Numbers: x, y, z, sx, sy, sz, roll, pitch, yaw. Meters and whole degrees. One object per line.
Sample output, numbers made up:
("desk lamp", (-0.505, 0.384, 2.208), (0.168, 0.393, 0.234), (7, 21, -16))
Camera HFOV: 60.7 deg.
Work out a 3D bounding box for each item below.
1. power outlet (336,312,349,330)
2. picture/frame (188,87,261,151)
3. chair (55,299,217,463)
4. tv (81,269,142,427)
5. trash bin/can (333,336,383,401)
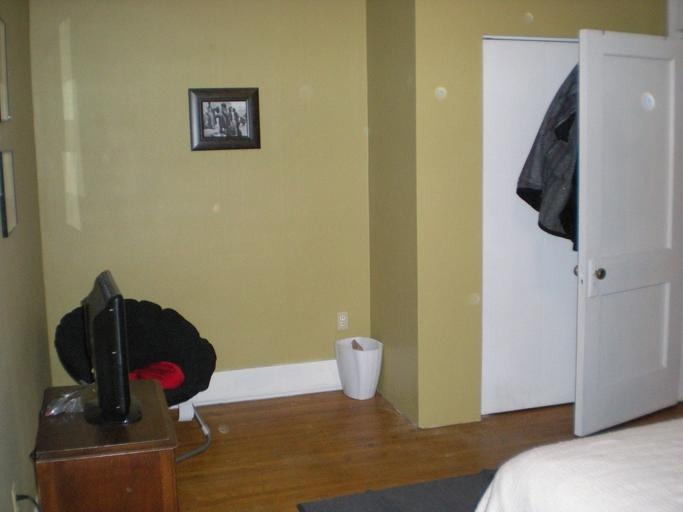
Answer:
("power outlet", (0.001, 0.474, 4.360), (0.108, 0.172, 0.022), (-3, 6, -30))
("picture/frame", (-0.835, -0.962, 4.037), (0.371, 0.384, 0.031), (-2, 5, -13))
("chair", (-1.119, 0.668, 3.552), (0.774, 0.844, 0.830), (26, 7, 22))
("tv", (-1.009, 0.447, 2.482), (0.173, 0.541, 0.497), (-3, -3, -33))
("trash bin/can", (0.096, 0.796, 4.250), (0.348, 0.471, 0.360), (-2, 4, -6))
